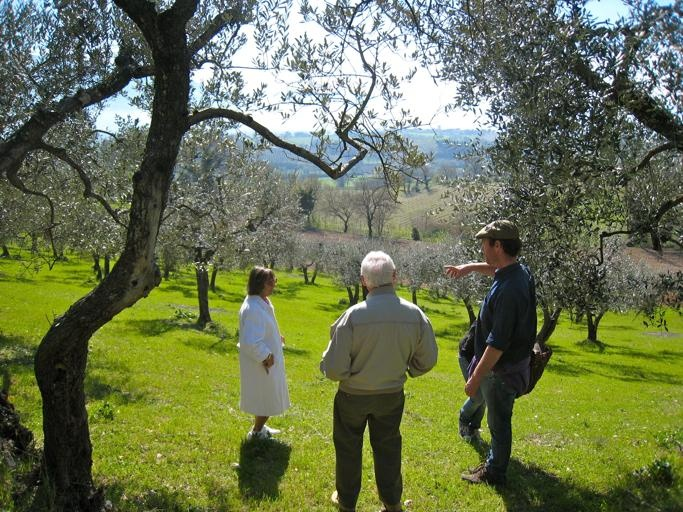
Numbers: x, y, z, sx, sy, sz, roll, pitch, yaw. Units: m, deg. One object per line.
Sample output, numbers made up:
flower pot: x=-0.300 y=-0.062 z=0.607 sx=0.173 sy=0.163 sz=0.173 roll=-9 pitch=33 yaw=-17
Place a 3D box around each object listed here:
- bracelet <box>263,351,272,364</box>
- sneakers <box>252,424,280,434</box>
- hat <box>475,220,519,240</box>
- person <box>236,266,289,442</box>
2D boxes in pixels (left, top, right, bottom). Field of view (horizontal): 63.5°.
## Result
bracelet: x=-1.236 y=1.735 z=9.327 sx=0.151 sy=0.170 sz=0.151 roll=-11 pitch=11 yaw=-40
sneakers: x=-1.303 y=3.164 z=9.993 sx=0.398 sy=0.204 sz=0.139 roll=3 pitch=6 yaw=-36
hat: x=2.441 y=-0.385 z=8.545 sx=0.433 sy=0.214 sz=0.350 roll=4 pitch=2 yaw=24
person: x=-1.338 y=1.495 z=9.524 sx=0.823 sy=2.592 sz=0.635 roll=1 pitch=4 yaw=-13
